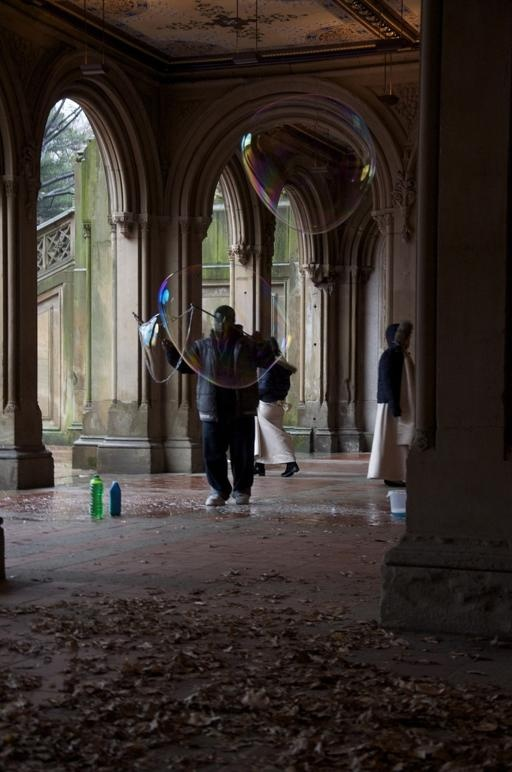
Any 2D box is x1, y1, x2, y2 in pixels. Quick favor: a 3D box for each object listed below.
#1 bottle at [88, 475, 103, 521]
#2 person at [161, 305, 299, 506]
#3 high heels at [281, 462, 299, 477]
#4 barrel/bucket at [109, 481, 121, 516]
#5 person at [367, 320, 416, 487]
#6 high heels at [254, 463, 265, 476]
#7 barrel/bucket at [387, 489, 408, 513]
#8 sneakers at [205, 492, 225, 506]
[{"bbox_3d":[-1.250,0.867,6.412,0.101,0.262,0.353,0,0,-11],"label":"bottle"},{"bbox_3d":[-0.203,0.186,7.194,0.732,1.452,0.601,0,0,3],"label":"person"},{"bbox_3d":[0.442,1.101,10.734,0.128,0.243,0.302,11,-18,-37],"label":"high heels"},{"bbox_3d":[-1.136,0.914,6.586,0.098,0.214,0.322,0,0,-10],"label":"barrel/bucket"},{"bbox_3d":[1.354,0.178,8.281,0.445,1.531,0.985,0,0,8],"label":"person"},{"bbox_3d":[0.037,1.102,10.822,0.080,0.175,0.218,0,8,-12],"label":"high heels"},{"bbox_3d":[1.089,0.910,6.371,0.110,0.197,0.529,0,0,7],"label":"barrel/bucket"},{"bbox_3d":[-0.372,1.000,7.228,0.093,0.095,0.138,-1,-8,3],"label":"sneakers"}]
